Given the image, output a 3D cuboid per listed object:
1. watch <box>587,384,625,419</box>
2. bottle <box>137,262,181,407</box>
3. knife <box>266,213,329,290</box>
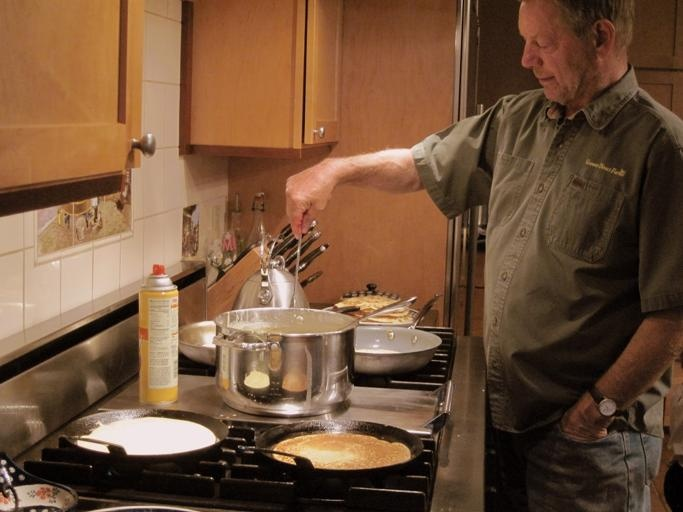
[{"bbox_3d":[0.618,0.350,1.552,0.082,0.048,0.077,44,4,-13],"label":"watch"},{"bbox_3d":[-0.410,0.178,1.441,0.091,0.316,0.058,-2,7,-12],"label":"bottle"},{"bbox_3d":[-0.171,-0.027,2.286,0.161,0.052,0.330,31,38,-13],"label":"knife"}]
